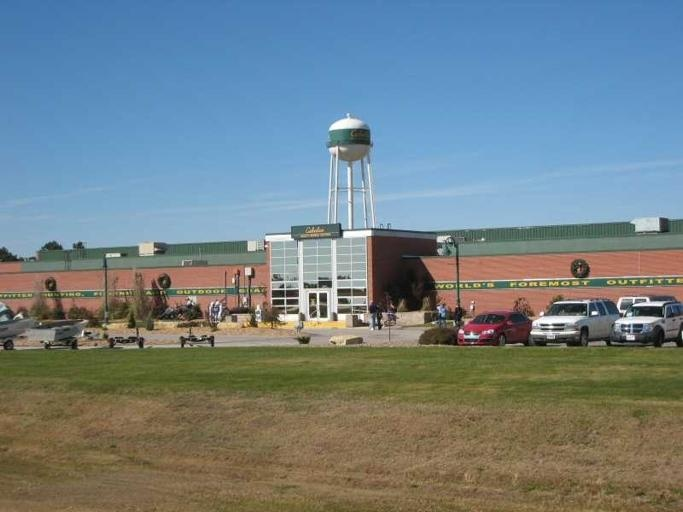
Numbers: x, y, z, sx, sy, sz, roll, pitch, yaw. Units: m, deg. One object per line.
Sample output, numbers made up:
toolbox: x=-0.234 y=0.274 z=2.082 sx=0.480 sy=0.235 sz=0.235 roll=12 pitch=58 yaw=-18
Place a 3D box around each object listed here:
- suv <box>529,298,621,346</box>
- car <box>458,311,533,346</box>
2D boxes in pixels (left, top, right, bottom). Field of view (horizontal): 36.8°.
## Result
suv: x=10.374 y=2.902 z=44.460 sx=1.875 sy=1.444 sz=3.484 roll=-5 pitch=-6 yaw=36
car: x=7.190 y=3.290 z=46.049 sx=1.467 sy=1.050 sz=3.270 roll=-5 pitch=-6 yaw=36
